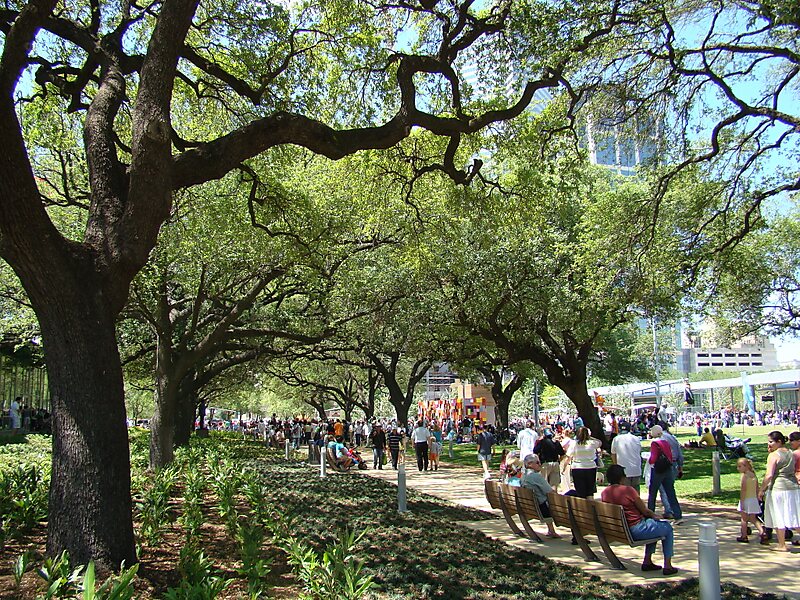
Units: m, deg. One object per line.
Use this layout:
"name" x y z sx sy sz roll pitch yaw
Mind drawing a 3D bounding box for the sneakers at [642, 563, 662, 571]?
"sneakers" 4.015 4.244 10.606 0.337 0.145 0.128 0 -7 -11

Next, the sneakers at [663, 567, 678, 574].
"sneakers" 4.169 4.195 10.251 0.236 0.101 0.090 -3 -6 -14

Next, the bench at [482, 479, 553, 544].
"bench" 2.272 4.091 12.924 0.456 0.991 1.744 1 -10 -16

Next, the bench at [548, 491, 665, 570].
"bench" 3.343 3.867 11.166 0.685 1.073 1.975 0 -10 -15

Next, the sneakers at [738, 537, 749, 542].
"sneakers" 6.166 4.315 11.921 0.080 0.086 0.197 -4 -2 -7

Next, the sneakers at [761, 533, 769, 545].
"sneakers" 6.459 4.233 11.781 0.144 0.173 0.232 -7 -11 28
